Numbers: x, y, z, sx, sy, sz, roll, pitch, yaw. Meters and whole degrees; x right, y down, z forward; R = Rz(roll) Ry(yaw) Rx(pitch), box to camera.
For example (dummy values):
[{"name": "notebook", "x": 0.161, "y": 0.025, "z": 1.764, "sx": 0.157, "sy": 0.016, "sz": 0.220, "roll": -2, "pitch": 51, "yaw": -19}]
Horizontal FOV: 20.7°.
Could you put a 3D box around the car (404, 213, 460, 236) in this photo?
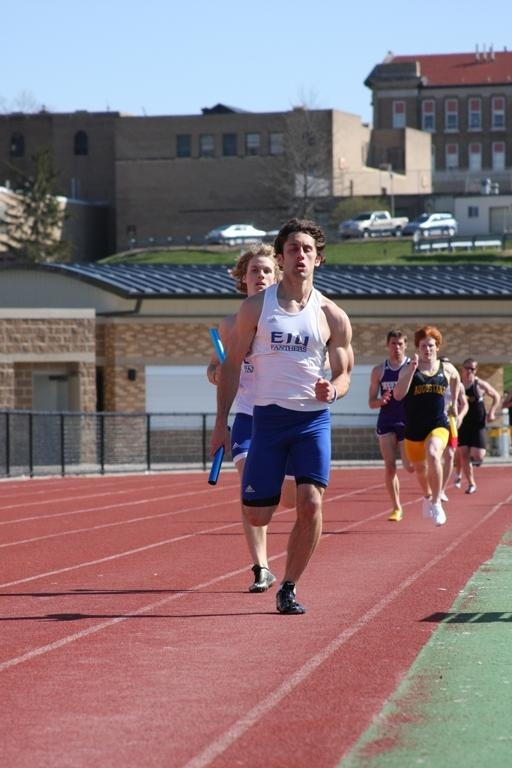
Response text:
[{"name": "car", "x": 9.607, "y": -8.731, "z": 77.586, "sx": 2.688, "sy": 1.341, "sz": 1.503, "roll": -1, "pitch": 3, "yaw": -36}]

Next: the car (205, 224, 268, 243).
[{"name": "car", "x": -1.006, "y": -7.944, "z": 77.119, "sx": 2.817, "sy": 1.029, "sz": 1.335, "roll": -11, "pitch": 12, "yaw": -3}]

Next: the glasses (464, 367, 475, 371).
[{"name": "glasses", "x": 2.482, "y": -0.178, "z": 16.521, "sx": 0.103, "sy": 0.057, "sz": 0.149, "roll": 0, "pitch": 2, "yaw": 4}]

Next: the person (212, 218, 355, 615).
[{"name": "person", "x": 0.129, "y": 0.172, "z": 6.920, "sx": 0.659, "sy": 1.960, "sz": 0.449, "roll": 0, "pitch": 2, "yaw": 2}]

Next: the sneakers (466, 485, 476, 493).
[{"name": "sneakers", "x": 2.560, "y": 1.284, "z": 16.891, "sx": 0.068, "sy": 0.091, "sz": 0.202, "roll": 12, "pitch": 4, "yaw": 0}]
